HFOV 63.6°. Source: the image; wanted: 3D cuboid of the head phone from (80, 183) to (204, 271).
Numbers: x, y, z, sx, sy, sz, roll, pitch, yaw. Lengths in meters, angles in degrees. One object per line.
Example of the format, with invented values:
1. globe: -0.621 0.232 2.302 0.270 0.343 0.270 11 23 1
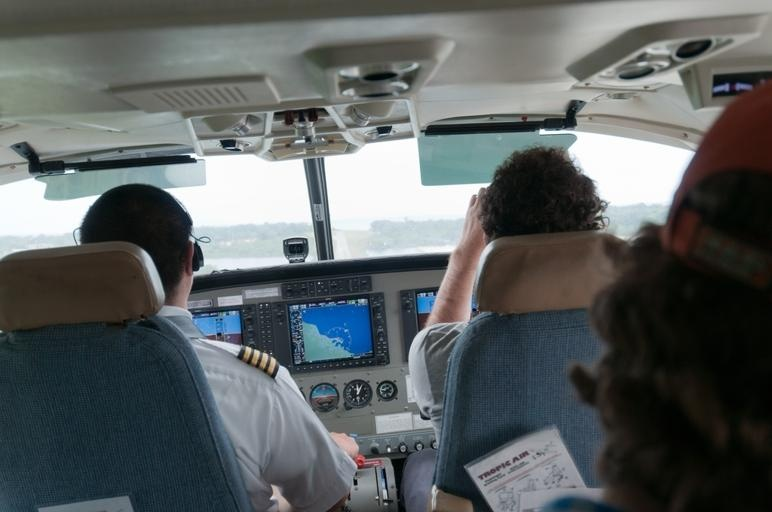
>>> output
1. head phone: -0.825 -0.134 2.084 0.313 0.289 0.153 -2 18 -4
